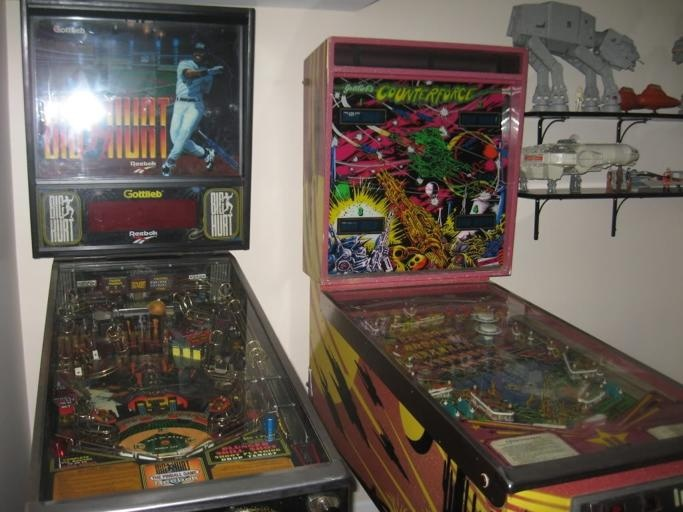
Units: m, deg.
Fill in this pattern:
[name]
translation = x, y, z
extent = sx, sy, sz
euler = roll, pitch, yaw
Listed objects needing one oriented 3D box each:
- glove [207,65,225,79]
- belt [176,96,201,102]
[glove]
translation = -0.545, -0.805, 2.411
extent = 0.106, 0.040, 0.031
euler = -27, -26, -18
[belt]
translation = -0.659, -0.679, 2.400
extent = 0.101, 0.019, 0.017
euler = -9, 12, -27
